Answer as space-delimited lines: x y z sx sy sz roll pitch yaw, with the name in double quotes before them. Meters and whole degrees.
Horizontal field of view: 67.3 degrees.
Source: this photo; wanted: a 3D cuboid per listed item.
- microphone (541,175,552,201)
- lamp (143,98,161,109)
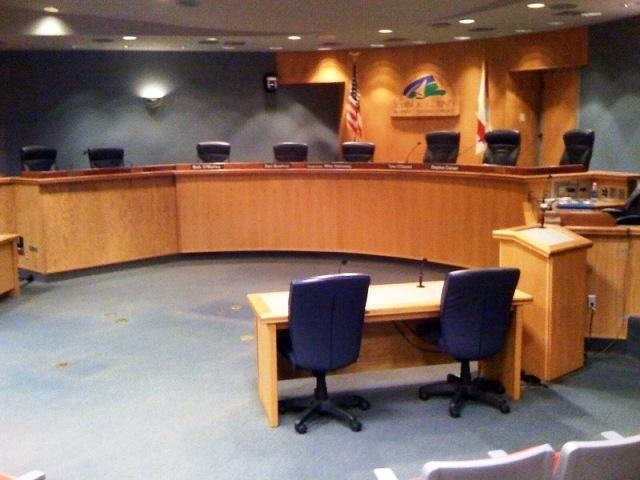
"microphone" 2.621 -0.628 5.607 0.081 0.266 0.269 8 15 35
"lamp" -3.764 -3.084 10.841 0.271 0.192 0.271 -4 13 -8
